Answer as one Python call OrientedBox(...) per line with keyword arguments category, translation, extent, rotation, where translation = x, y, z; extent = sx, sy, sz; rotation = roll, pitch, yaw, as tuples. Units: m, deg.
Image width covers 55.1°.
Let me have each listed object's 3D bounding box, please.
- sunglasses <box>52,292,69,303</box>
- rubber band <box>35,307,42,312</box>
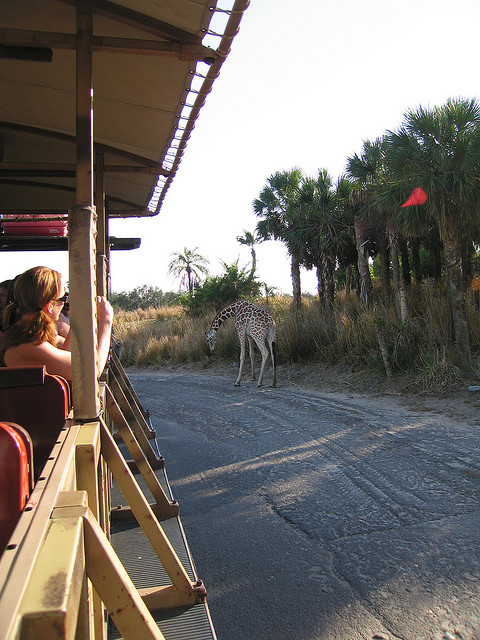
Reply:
OrientedBox(category="sunglasses", translation=(-1.013, -0.125, 2.585), extent=(0.105, 0.044, 0.123), rotation=(-2, 1, -6))
OrientedBox(category="rubber band", translation=(-0.977, -0.050, 2.231), extent=(0.016, 0.021, 0.033), rotation=(5, 7, -16))
